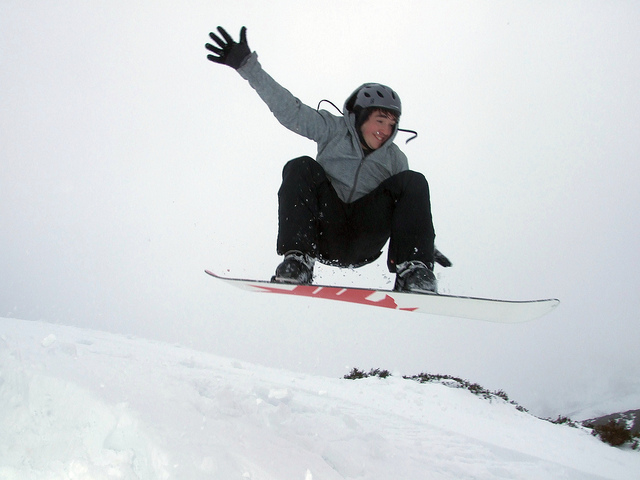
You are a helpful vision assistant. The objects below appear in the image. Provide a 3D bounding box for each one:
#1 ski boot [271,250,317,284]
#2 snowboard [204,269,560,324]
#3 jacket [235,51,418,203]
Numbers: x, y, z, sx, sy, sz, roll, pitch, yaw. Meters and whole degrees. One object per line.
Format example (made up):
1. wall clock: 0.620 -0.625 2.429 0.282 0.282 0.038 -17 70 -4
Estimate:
1. ski boot: -0.291 0.264 5.497 0.353 0.362 0.438 -1 4 20
2. snowboard: 0.893 0.565 5.456 2.976 0.363 0.411 12 -4 -1
3. jacket: 0.123 -1.239 6.161 2.116 1.318 0.400 13 -5 -24
